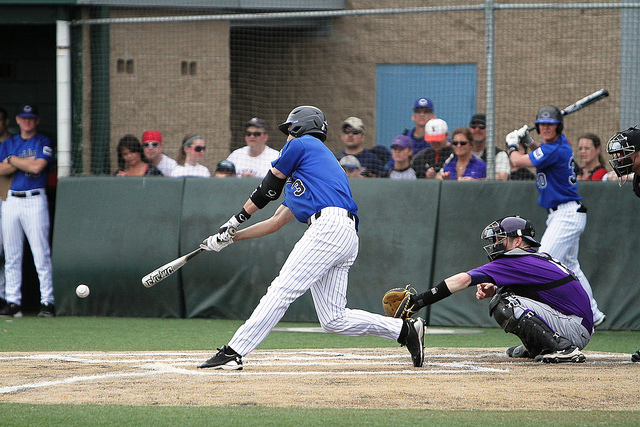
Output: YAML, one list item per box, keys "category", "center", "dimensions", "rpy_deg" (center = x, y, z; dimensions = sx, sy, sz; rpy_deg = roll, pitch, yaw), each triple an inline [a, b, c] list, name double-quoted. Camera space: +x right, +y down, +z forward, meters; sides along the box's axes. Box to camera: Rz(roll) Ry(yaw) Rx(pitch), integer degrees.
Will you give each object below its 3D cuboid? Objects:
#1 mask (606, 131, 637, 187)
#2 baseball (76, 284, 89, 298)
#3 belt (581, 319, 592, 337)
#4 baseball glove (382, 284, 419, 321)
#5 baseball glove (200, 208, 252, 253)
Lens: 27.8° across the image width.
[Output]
- category: "mask"
  center: [3.221, -0.585, 13.726]
  dimensions: [0.298, 0.552, 0.298]
  rpy_deg: [3, 16, 25]
- category: "baseball"
  center: [-2.936, 0.942, 15.832]
  dimensions: [0.155, 0.173, 0.073]
  rpy_deg: [-4, 16, -10]
- category: "belt"
  center: [2.770, 1.161, 13.327]
  dimensions: [0.062, 0.138, 0.111]
  rpy_deg: [-24, 11, -8]
- category: "baseball glove"
  center: [0.809, 0.907, 13.443]
  dimensions: [0.272, 0.339, 0.459]
  rpy_deg: [-2, -4, 0]
- category: "baseball glove"
  center: [-0.958, 0.182, 13.300]
  dimensions: [0.182, 0.631, 0.377]
  rpy_deg: [45, 23, -9]
